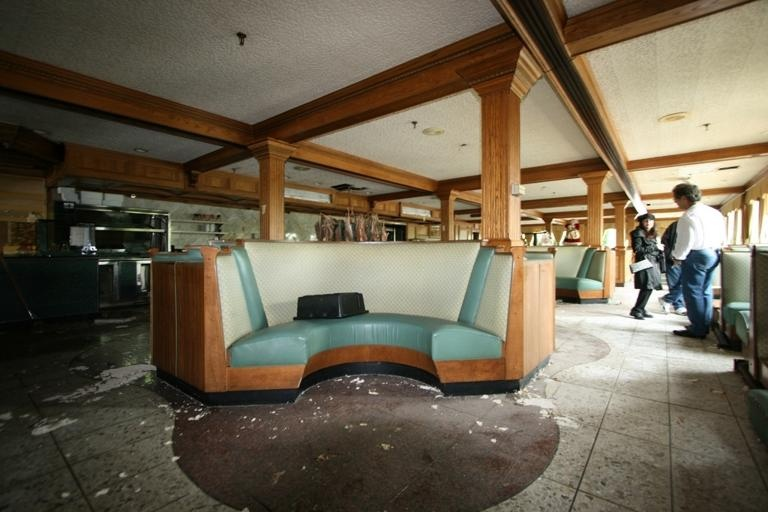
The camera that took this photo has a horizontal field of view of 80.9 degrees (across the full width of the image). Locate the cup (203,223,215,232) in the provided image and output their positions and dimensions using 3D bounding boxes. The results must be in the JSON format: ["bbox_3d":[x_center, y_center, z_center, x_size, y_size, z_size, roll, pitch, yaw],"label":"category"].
[{"bbox_3d":[-4.360,-0.691,11.277,0.347,0.235,0.215,1,2,-22],"label":"cup"}]

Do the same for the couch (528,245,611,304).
[{"bbox_3d":[3.421,0.340,8.841,1.915,0.993,1.056,1,5,40],"label":"couch"}]

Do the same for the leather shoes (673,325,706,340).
[{"bbox_3d":[3.860,0.977,5.701,0.340,0.099,0.120,4,2,32],"label":"leather shoes"}]

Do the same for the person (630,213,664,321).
[{"bbox_3d":[3.912,0.150,6.714,0.409,1.566,0.712,1,4,28],"label":"person"}]

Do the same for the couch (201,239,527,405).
[{"bbox_3d":[-0.217,0.588,4.734,3.005,1.036,1.259,-4,13,-2],"label":"couch"}]

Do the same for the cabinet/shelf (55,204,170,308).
[{"bbox_3d":[-5.086,-0.001,8.489,0.830,1.718,2.215,-11,-3,21],"label":"cabinet/shelf"}]

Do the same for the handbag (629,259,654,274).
[{"bbox_3d":[3.721,0.141,6.496,0.283,0.200,0.181,1,3,24],"label":"handbag"}]
